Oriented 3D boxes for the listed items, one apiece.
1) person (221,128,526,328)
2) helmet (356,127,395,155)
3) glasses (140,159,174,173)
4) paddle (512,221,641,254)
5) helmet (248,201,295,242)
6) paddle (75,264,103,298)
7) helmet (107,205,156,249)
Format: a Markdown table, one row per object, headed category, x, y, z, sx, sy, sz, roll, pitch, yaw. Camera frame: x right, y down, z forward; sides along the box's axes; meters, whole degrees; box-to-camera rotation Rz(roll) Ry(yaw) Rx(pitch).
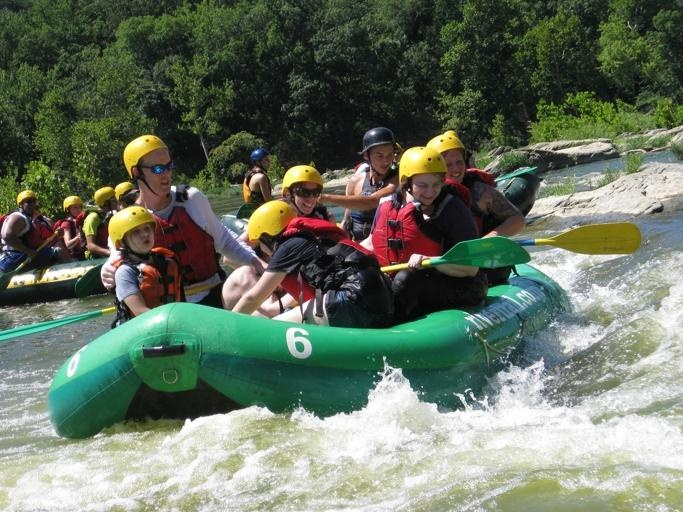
| category | x | y | z | sx | sy | sz | roll | pitch | yaw |
| --- | --- | --- | --- | --- | --- | --- | --- | --- | --- |
| person | 0.457 | -0.126 | 5.707 | 1.205 | 1.012 | 2.257 | -1 | 3 | 24 |
| helmet | 0.355 | -1.288 | 7.606 | 0.286 | 0.196 | 0.370 | -3 | -16 | -43 |
| glasses | -1.558 | -0.720 | 5.825 | 0.284 | 0.081 | 0.134 | -15 | 8 | -16 |
| paddle | 2.157 | -0.132 | 6.647 | 0.054 | 0.345 | 1.388 | -2 | 1 | -41 |
| helmet | -0.503 | -0.248 | 5.585 | 0.428 | 0.338 | 0.337 | 0 | 3 | 32 |
| paddle | -3.013 | 0.310 | 8.239 | 0.108 | 0.298 | 0.998 | -49 | 5 | -28 |
| helmet | -1.637 | -0.187 | 5.593 | 0.282 | 0.288 | 0.374 | -11 | -15 | -23 |
